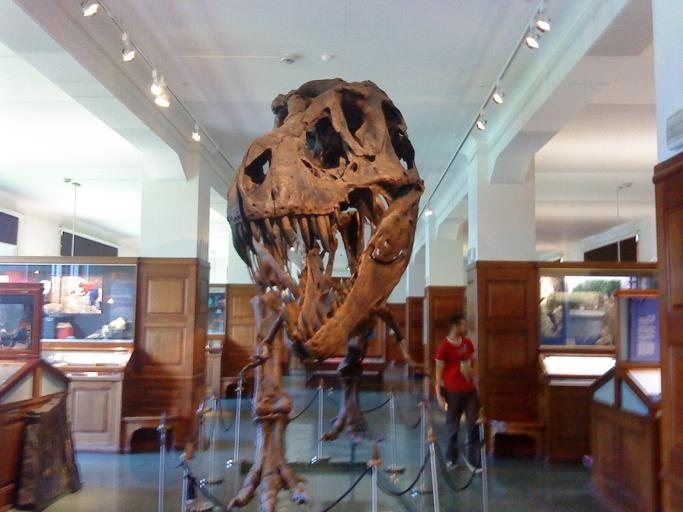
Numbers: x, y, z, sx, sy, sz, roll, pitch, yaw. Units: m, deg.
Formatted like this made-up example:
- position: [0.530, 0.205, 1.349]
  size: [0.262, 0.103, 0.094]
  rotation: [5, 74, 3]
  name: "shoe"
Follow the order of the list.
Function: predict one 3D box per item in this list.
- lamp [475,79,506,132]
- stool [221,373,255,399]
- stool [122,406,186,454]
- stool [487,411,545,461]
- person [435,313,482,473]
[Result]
- position: [2.154, -2.192, 7.548]
  size: [0.358, 1.088, 0.250]
  rotation: [16, -22, -2]
  name: "lamp"
- position: [-2.287, 2.890, 11.522]
  size: [0.661, 0.537, 1.165]
  rotation: [-3, -6, 12]
  name: "stool"
- position: [-2.778, 2.569, 7.590]
  size: [1.022, 0.679, 1.061]
  rotation: [0, -16, -5]
  name: "stool"
- position: [2.494, 2.603, 7.488]
  size: [0.792, 0.533, 0.607]
  rotation: [-1, -5, 18]
  name: "stool"
- position: [1.441, 1.688, 6.402]
  size: [0.521, 1.868, 0.530]
  rotation: [-4, 11, 3]
  name: "person"
